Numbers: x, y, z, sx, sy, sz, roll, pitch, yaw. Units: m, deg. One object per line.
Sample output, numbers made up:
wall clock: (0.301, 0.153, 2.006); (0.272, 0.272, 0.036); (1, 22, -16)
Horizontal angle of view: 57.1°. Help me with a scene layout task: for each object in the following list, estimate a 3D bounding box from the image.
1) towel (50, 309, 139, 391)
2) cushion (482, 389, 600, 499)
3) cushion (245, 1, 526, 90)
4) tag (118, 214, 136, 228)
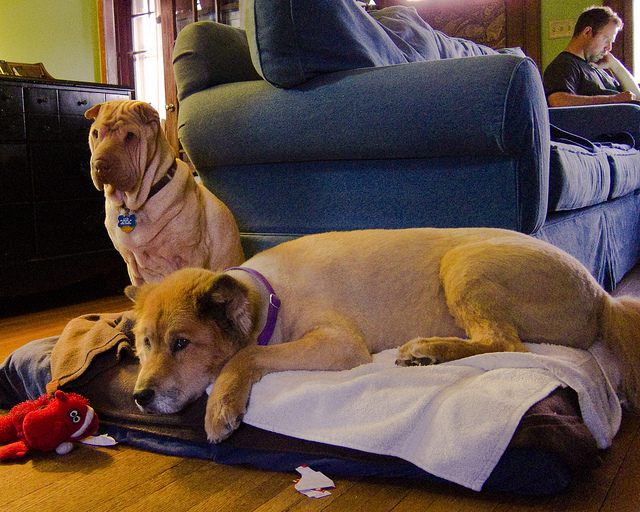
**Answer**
towel: (-0.718, 0.289, 1.825); (0.273, 0.095, 0.259); (-35, 13, -13)
cushion: (0.539, 0.398, 1.533); (0.301, 0.156, 0.442); (7, 15, 15)
cushion: (0.181, -0.882, 2.530); (0.936, 0.301, 0.920); (-17, 25, -40)
tag: (-0.690, -0.128, 2.092); (0.064, 0.042, 0.023); (2, 17, 17)
